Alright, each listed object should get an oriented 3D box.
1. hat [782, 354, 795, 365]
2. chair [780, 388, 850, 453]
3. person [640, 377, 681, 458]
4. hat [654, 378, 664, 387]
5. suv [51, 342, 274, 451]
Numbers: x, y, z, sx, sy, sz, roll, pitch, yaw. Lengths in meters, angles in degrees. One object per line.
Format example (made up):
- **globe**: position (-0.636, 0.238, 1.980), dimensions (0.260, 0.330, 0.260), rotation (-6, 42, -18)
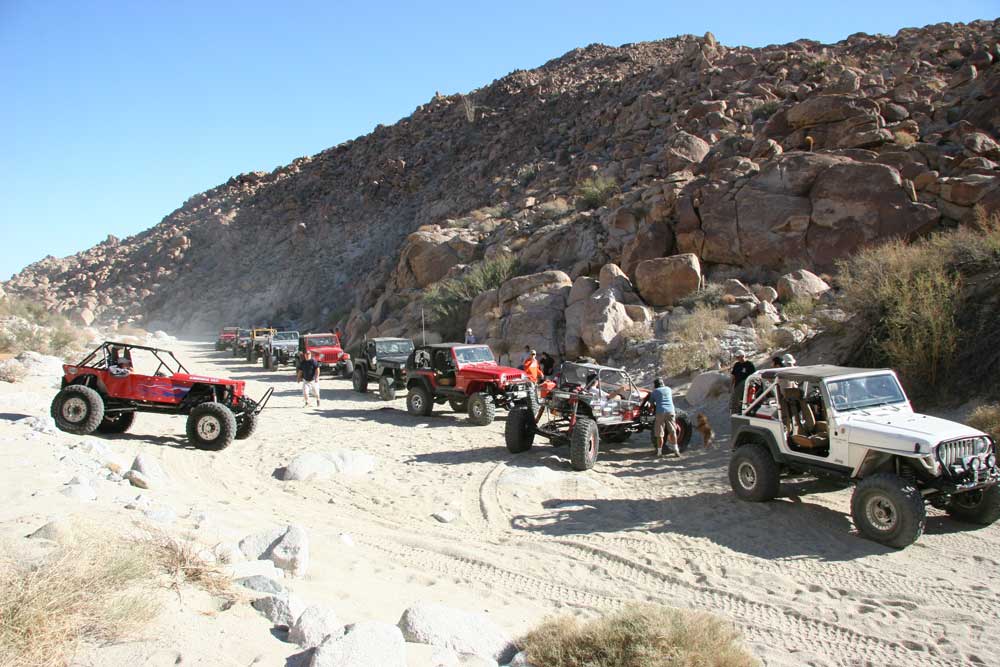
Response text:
- **hat**: position (6.215, 0.553, 16.617), dimensions (0.269, 0.254, 0.465), rotation (-1, -5, 26)
- **chair**: position (5.586, 1.589, 14.112), dimensions (0.900, 1.288, 1.068), rotation (-2, -1, -26)
- **person**: position (3.603, 1.839, 16.959), dimensions (0.872, 1.806, 0.687), rotation (5, 12, 11)
- **hat**: position (3.513, 1.071, 17.047), dimensions (0.169, 0.218, 0.217), rotation (8, 11, 21)
- **suv**: position (-7.823, 1.410, 17.670), dimensions (4.390, 2.059, 2.414), rotation (8, -3, -2)
